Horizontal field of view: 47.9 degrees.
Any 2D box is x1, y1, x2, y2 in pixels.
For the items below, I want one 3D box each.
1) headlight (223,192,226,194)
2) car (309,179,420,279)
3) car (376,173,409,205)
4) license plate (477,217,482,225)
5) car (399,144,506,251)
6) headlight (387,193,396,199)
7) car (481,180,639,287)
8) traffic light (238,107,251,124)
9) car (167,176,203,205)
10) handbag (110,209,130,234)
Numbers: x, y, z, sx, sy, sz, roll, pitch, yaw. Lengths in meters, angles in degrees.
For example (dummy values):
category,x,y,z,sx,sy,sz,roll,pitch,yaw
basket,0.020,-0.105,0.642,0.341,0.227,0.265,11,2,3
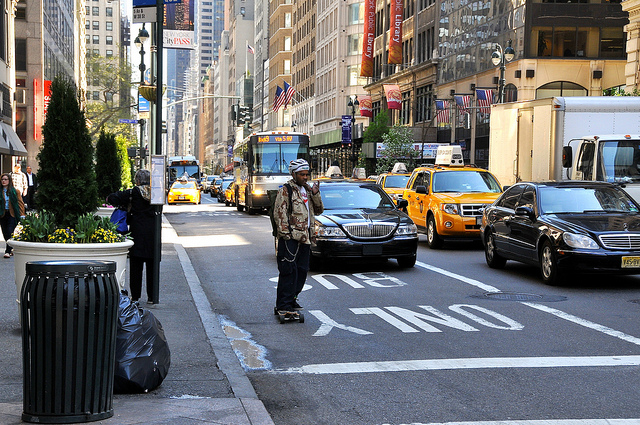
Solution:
category,x,y,z,sx,sy,sz,roll,pitch,yaw
headlight,-7.228,-1.503,54.112,0.218,0.227,0.222,2,2,-1
car,0.986,0.291,16.691,2.180,1.988,3.308,0,5,2
car,2.768,-1.085,26.606,0.771,0.704,1.701,0,1,-9
license plate,4.334,0.226,19.624,0.044,0.177,0.188,-4,9,-28
car,4.120,-0.538,22.311,2.410,3.067,5.607,0,3,-7
headlight,2.464,-0.590,24.741,0.241,0.184,0.406,2,7,1
car,5.189,0.347,15.474,2.482,2.037,4.621,-1,5,-5
traffic light,-4.188,-5.367,40.117,0.686,1.339,1.326,0,2,-10
car,-9.680,-1.487,51.246,2.179,1.908,2.179,-2,5,-13
handbag,-3.284,0.148,11.887,0.207,0.419,0.607,0,5,4
